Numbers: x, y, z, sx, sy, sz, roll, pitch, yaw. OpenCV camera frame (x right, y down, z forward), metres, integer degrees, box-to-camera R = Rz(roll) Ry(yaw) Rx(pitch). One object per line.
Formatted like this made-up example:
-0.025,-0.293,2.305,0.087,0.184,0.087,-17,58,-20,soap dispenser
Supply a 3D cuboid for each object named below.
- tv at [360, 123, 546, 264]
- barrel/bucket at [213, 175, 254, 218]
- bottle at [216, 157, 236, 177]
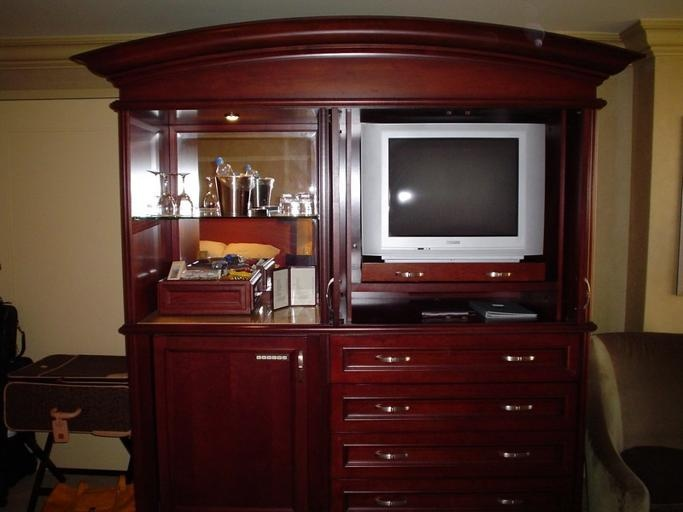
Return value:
0.668,-0.380,3.568,1.039,0.759,0.572,0,16,9,tv
-0.603,-0.343,3.317,0.219,0.217,0.209,2,6,0,barrel/bucket
-0.698,-0.550,3.655,0.120,0.138,0.122,-13,17,-6,bottle
